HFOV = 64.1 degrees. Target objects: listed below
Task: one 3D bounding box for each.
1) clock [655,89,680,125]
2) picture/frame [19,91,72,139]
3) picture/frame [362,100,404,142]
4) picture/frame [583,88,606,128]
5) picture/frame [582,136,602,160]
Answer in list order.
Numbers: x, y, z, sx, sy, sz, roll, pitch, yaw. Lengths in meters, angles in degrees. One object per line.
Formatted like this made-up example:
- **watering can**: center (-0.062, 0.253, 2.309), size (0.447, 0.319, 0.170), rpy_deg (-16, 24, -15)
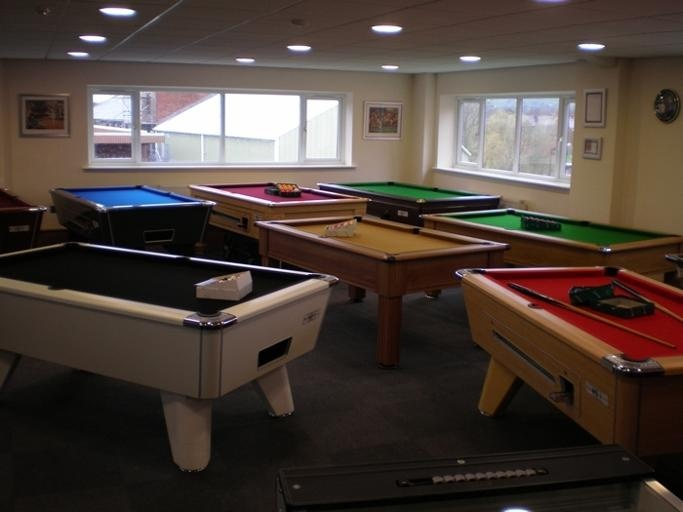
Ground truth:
- **clock**: center (3.234, -1.471, 5.391), size (0.059, 0.333, 0.253), rpy_deg (-6, 15, -24)
- **picture/frame**: center (-3.665, -1.710, 6.714), size (0.558, 0.501, 0.069), rpy_deg (-6, 16, -24)
- **picture/frame**: center (0.639, -2.054, 8.361), size (0.658, 0.553, 0.050), rpy_deg (-5, 15, -21)
- **picture/frame**: center (2.740, -1.584, 5.874), size (0.058, 0.442, 0.361), rpy_deg (-15, 21, -14)
- **picture/frame**: center (2.733, -1.163, 5.911), size (0.032, 0.259, 0.287), rpy_deg (-3, 10, -24)
